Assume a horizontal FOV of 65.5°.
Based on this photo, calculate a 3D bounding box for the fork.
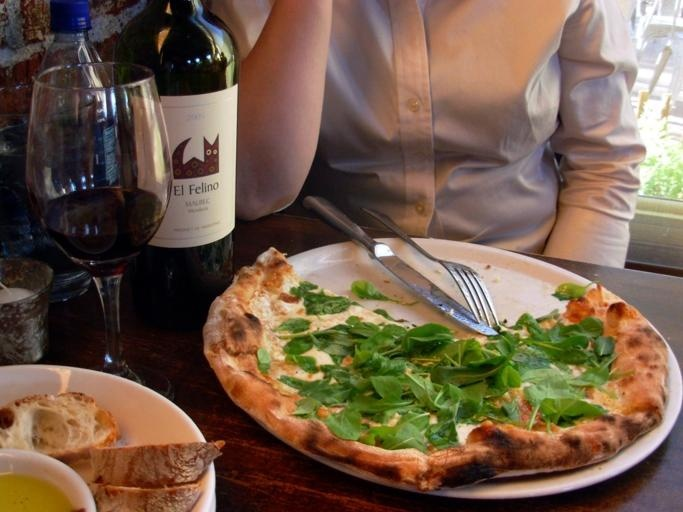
[{"bbox_3d":[0.095,-0.002,0.993,0.069,0.058,0.473,-20,42,-36],"label":"fork"}]

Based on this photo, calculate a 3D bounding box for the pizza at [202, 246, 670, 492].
[{"bbox_3d":[0.098,0.156,0.637,0.345,0.038,0.323,15,28,27],"label":"pizza"}]

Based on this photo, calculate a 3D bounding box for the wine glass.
[{"bbox_3d":[-0.285,-0.033,0.621,0.130,0.367,0.200,-13,27,-36],"label":"wine glass"}]
